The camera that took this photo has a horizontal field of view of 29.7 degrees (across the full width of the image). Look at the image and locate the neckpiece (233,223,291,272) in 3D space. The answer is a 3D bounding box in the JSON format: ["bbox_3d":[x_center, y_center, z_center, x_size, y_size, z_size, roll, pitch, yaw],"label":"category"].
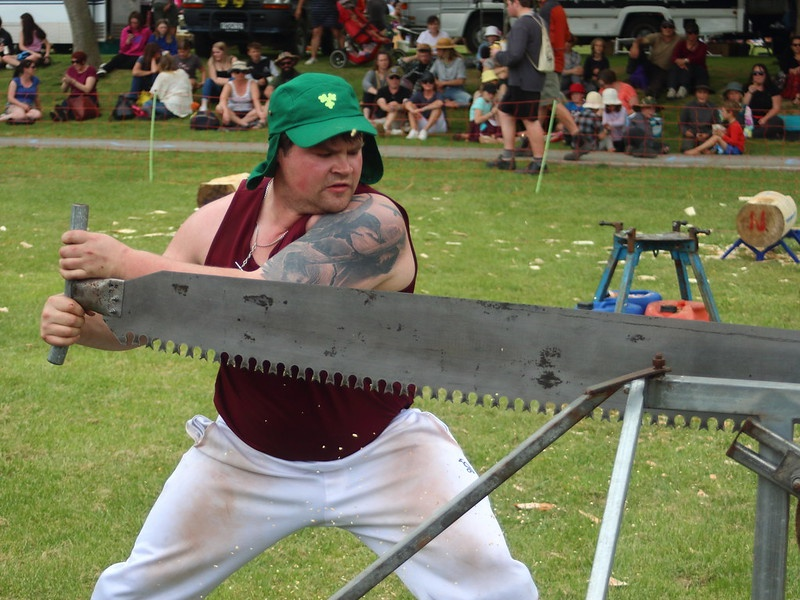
[{"bbox_3d":[-1.080,-0.386,11.317,0.218,0.457,0.133,56,8,17],"label":"neckpiece"}]
